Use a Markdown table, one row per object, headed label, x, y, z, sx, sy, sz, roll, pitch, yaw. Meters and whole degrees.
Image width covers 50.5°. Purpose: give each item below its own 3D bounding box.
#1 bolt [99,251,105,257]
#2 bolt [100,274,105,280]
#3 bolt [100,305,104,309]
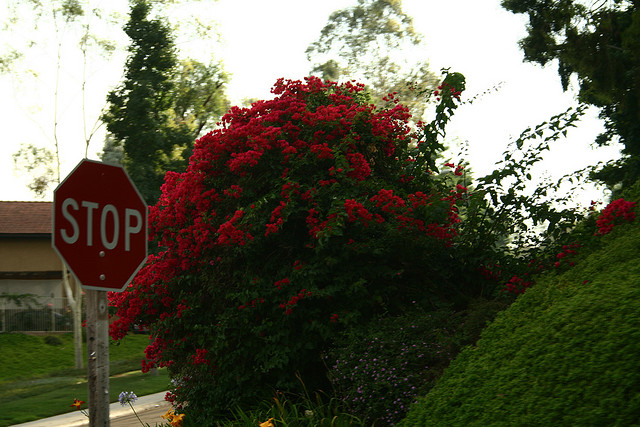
| label | x | y | z | sx | sy | sz | roll | pitch | yaw |
| --- | --- | --- | --- | --- | --- | --- | --- | --- | --- |
| bolt | -2.723 | 0.515 | 8.566 | 0.063 | 0.067 | 0.034 | -17 | -24 | -19 |
| bolt | -2.718 | 0.801 | 8.532 | 0.085 | 0.089 | 0.014 | 0 | -16 | -17 |
| bolt | -2.695 | 1.167 | 8.467 | 0.050 | 0.039 | 0.013 | -5 | -4 | -37 |
